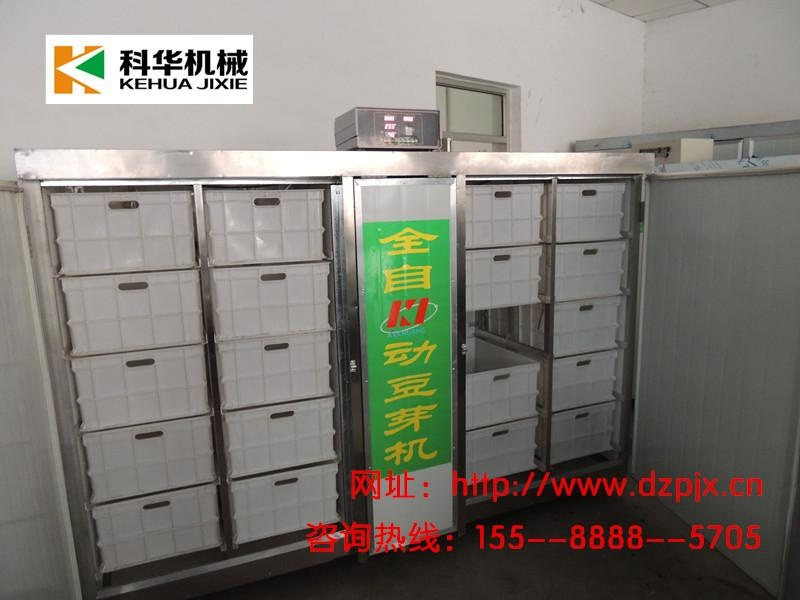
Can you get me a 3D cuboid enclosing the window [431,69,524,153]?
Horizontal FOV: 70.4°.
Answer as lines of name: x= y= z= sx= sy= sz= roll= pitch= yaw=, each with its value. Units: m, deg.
window: x=0.605 y=-1.532 z=4.499 sx=1.057 sy=0.774 sz=0.079 roll=-10 pitch=22 yaw=-27
